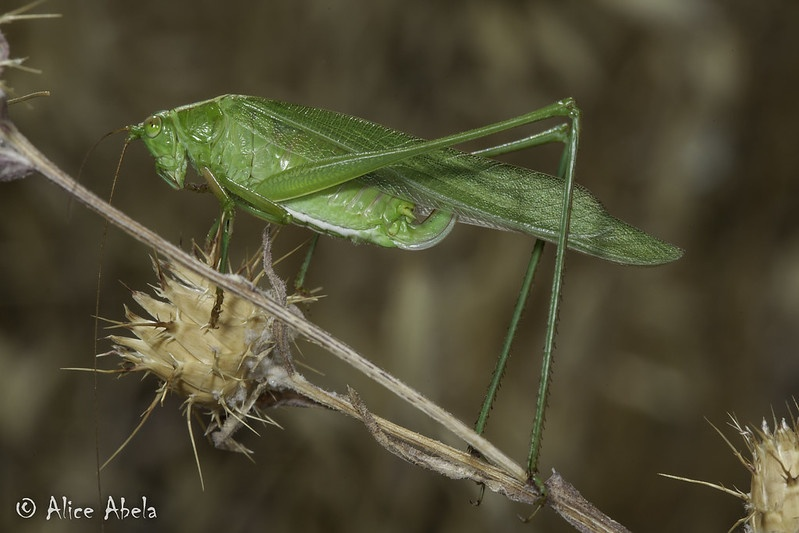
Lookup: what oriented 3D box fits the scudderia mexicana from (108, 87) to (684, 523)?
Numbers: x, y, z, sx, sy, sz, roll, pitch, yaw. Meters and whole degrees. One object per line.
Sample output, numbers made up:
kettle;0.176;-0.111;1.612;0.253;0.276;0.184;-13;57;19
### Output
scudderia mexicana;-0.115;-0.200;3.835;2.390;0.758;1.632;11;-58;4
